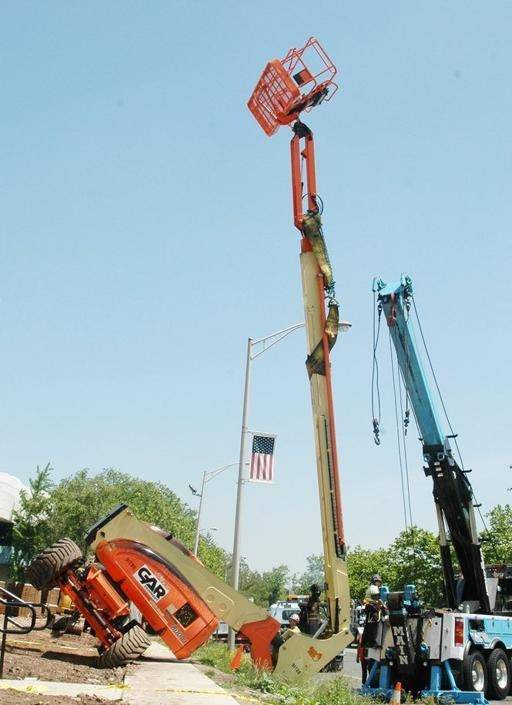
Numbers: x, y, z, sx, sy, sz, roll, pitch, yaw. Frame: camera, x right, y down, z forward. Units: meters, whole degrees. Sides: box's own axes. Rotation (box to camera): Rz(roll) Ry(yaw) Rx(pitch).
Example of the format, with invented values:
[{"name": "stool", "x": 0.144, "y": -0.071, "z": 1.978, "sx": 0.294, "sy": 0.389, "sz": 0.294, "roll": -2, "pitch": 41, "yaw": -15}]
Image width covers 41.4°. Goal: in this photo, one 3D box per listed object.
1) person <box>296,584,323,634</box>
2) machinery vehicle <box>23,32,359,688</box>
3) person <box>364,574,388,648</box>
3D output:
[{"name": "person", "x": 1.274, "y": 6.103, "z": 15.640, "sx": 0.642, "sy": 1.263, "sz": 0.471, "roll": 3, "pitch": -9, "yaw": -34}, {"name": "machinery vehicle", "x": -0.696, "y": 2.508, "z": 24.693, "sx": 13.149, "sy": 26.772, "sz": 6.490, "roll": 4, "pitch": -5, "yaw": -18}, {"name": "person", "x": 2.200, "y": 4.890, "z": 12.797, "sx": 0.459, "sy": 1.295, "sz": 0.893, "roll": -4, "pitch": -23, "yaw": 8}]
